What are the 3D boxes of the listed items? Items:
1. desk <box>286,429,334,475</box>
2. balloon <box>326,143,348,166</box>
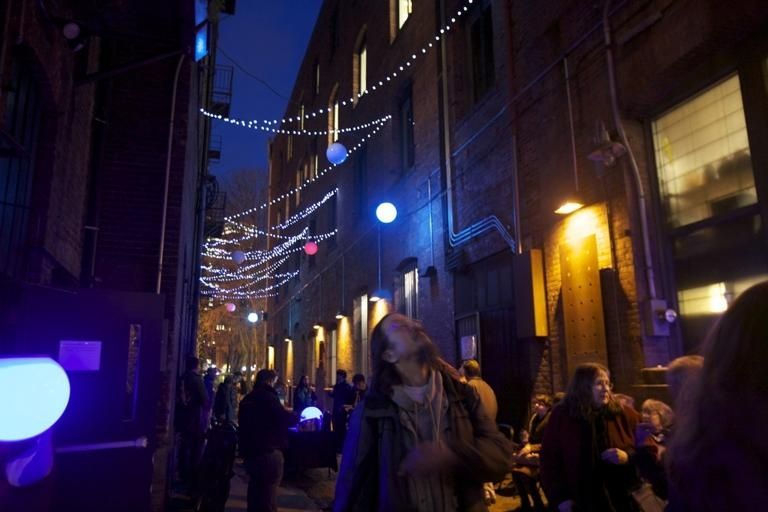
[{"bbox_3d":[-1.350,3.594,11.220,1.028,0.929,1.142,0,-19,-3],"label":"desk"},{"bbox_3d":[-1.308,-2.953,16.784,0.444,0.792,0.734,0,-16,4],"label":"balloon"}]
